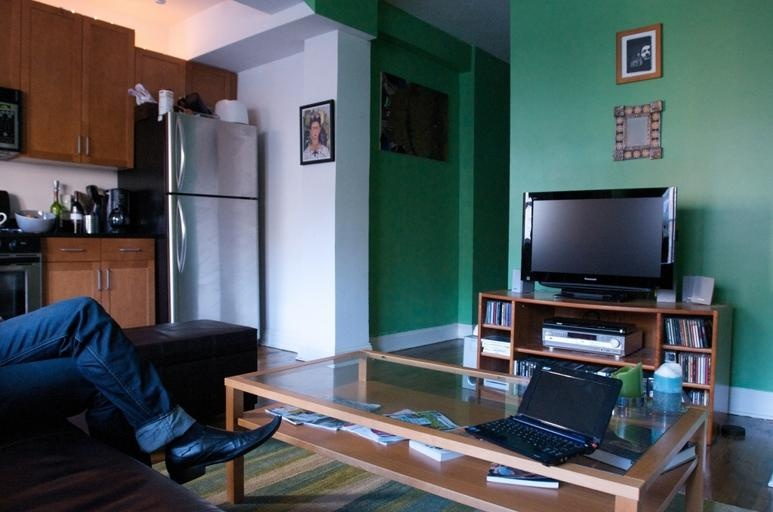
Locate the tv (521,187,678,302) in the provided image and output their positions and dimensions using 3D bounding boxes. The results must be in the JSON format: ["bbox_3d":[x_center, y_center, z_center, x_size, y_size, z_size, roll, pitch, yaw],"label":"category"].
[{"bbox_3d":[1.613,-0.084,4.342,0.944,0.644,0.257,0,-2,32],"label":"tv"}]

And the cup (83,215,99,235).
[{"bbox_3d":[-2.694,-0.301,5.348,0.072,0.161,0.161,1,6,17],"label":"cup"}]

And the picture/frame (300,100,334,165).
[{"bbox_3d":[-0.630,-1.111,5.316,0.448,0.553,0.058,5,9,43],"label":"picture/frame"}]

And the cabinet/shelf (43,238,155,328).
[{"bbox_3d":[-2.254,0.183,4.530,0.498,0.903,0.837,1,1,43],"label":"cabinet/shelf"}]

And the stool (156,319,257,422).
[{"bbox_3d":[-1.139,0.727,3.819,0.646,0.445,0.655,-1,-1,42],"label":"stool"}]

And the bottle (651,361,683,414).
[{"bbox_3d":[1.345,0.627,2.820,0.173,0.212,0.122,-4,7,-29],"label":"bottle"}]

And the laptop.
[{"bbox_3d":[0.767,0.702,2.622,0.473,0.219,0.462,-1,2,-38],"label":"laptop"}]

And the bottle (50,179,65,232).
[{"bbox_3d":[-2.966,-0.461,5.259,0.100,0.434,0.198,-3,7,-17],"label":"bottle"}]

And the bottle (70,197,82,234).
[{"bbox_3d":[-2.812,-0.382,5.313,0.098,0.318,0.205,-5,7,-33],"label":"bottle"}]

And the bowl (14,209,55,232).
[{"bbox_3d":[-3.004,-0.288,4.988,0.261,0.123,0.255,5,1,0],"label":"bowl"}]
